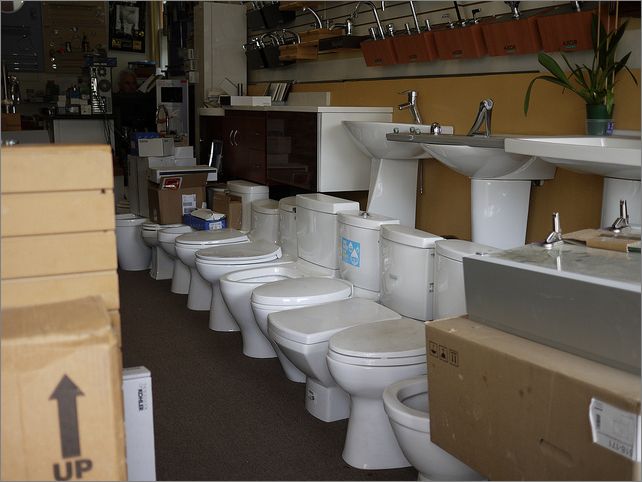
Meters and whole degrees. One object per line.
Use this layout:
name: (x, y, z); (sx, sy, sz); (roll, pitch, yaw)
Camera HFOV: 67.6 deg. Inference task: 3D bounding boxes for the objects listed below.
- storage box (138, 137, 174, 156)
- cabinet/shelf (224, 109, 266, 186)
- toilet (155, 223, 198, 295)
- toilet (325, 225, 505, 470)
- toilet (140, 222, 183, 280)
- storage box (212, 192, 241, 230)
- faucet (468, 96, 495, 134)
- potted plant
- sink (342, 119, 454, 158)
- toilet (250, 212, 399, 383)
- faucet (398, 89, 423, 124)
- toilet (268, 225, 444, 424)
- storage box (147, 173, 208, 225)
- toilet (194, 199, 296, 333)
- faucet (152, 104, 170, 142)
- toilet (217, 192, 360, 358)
storage box: (-1.550, -0.872, 4.499); (0.312, 0.166, 0.067); (-6, 15, -25)
cabinet/shelf: (-0.683, -0.869, 4.414); (0.322, 0.552, 0.633); (-6, 16, -27)
toilet: (-1.244, 0.114, 4.218); (0.482, 0.575, 0.448); (-7, 19, -29)
toilet: (0.304, 0.403, 2.634); (0.933, 1.255, 0.845); (-5, 12, -23)
toilet: (-1.469, 0.051, 4.522); (0.487, 0.641, 0.387); (-2, 15, -21)
storage box: (-0.827, -0.256, 4.266); (0.102, 0.272, 0.269); (-13, 21, -36)
faucet: (0.859, -0.659, 2.572); (0.110, 0.184, 0.240); (5, 14, 17)
potted plant: (1.290, -0.809, 2.423); (0.565, 0.510, 0.473); (-8, 15, -8)
sink: (0.416, -0.634, 3.062); (0.414, 0.161, 0.356); (-4, 14, -25)
toilet: (-0.127, 0.165, 3.186); (0.968, 1.249, 0.803); (-5, 16, -24)
faucet: (0.604, -0.899, 3.213); (0.134, 0.236, 0.599); (3, 14, 10)
toilet: (0.033, 0.413, 2.911); (1.128, 1.258, 0.579); (-5, 14, -28)
storage box: (-1.286, -0.456, 4.498); (0.583, 0.601, 0.419); (-9, 21, -31)
toilet: (-0.630, 0.143, 3.699); (0.876, 1.143, 0.632); (-4, 15, -24)
faucet: (-1.772, -1.369, 5.386); (0.146, 0.326, 0.659); (-4, 15, -17)
toilet: (-0.216, 0.085, 3.425); (1.082, 1.286, 0.744); (-6, 16, -26)
